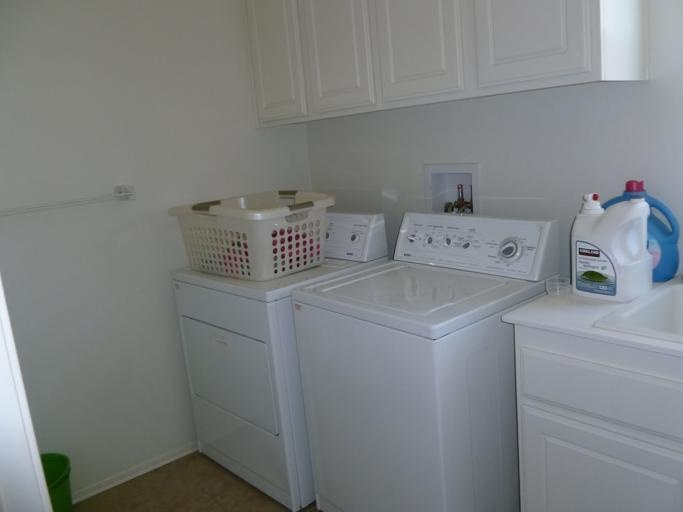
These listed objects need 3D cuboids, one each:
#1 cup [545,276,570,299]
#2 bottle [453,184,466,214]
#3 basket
[{"bbox_3d":[0.835,0.127,1.843,0.090,0.068,0.112,3,14,24],"label":"cup"},{"bbox_3d":[0.592,-0.281,2.346,0.070,0.133,0.084,-4,13,-4],"label":"bottle"},{"bbox_3d":[-0.410,-0.074,2.295,0.497,0.318,0.612,4,8,40],"label":"basket"}]
